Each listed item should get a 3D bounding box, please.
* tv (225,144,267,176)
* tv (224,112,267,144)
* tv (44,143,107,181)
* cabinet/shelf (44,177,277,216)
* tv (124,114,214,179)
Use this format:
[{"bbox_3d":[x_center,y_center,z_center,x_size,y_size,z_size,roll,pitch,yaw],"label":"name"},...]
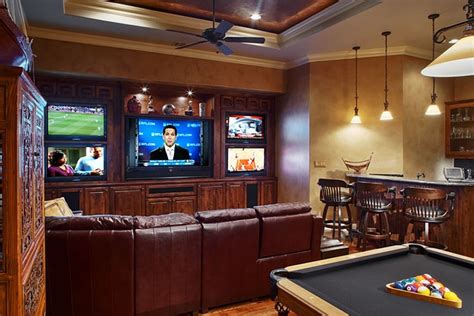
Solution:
[{"bbox_3d":[0.207,0.079,7.943,0.989,0.652,0.157,-4,15,-22],"label":"tv"},{"bbox_3d":[0.210,-0.693,7.958,1.012,0.662,0.178,-4,15,-24],"label":"tv"},{"bbox_3d":[-3.166,-0.142,6.856,1.235,0.823,0.642,0,-3,-20],"label":"tv"},{"bbox_3d":[-1.432,0.795,7.122,4.736,0.715,0.716,3,2,-36],"label":"cabinet/shelf"},{"bbox_3d":[-1.532,-0.246,7.324,2.145,1.419,0.117,0,0,-27],"label":"tv"}]
